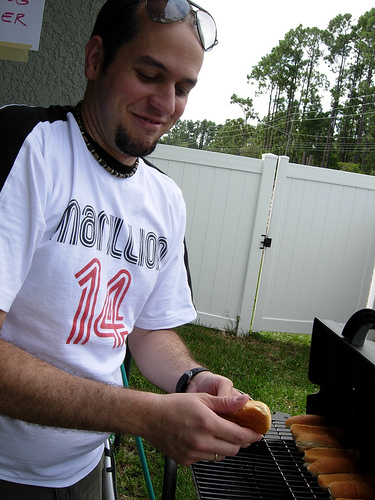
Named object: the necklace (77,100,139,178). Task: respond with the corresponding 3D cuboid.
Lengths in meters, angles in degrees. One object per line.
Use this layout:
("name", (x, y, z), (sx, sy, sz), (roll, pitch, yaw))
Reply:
("necklace", (-0.210, -0.297, 1.091), (0.193, 0.196, 0.176), (7, 8, -16))

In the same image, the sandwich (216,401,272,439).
("sandwich", (0.151, 0.426, 1.032), (0.152, 0.073, 0.053), (1, 24, -19))

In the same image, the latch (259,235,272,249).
("latch", (1.008, -0.108, 5.362), (0.213, 0.171, 0.049), (6, 8, 16))

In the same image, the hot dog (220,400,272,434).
("hot dog", (0.137, 0.416, 1.015), (0.124, 0.082, 0.038), (-2, 48, 1))
